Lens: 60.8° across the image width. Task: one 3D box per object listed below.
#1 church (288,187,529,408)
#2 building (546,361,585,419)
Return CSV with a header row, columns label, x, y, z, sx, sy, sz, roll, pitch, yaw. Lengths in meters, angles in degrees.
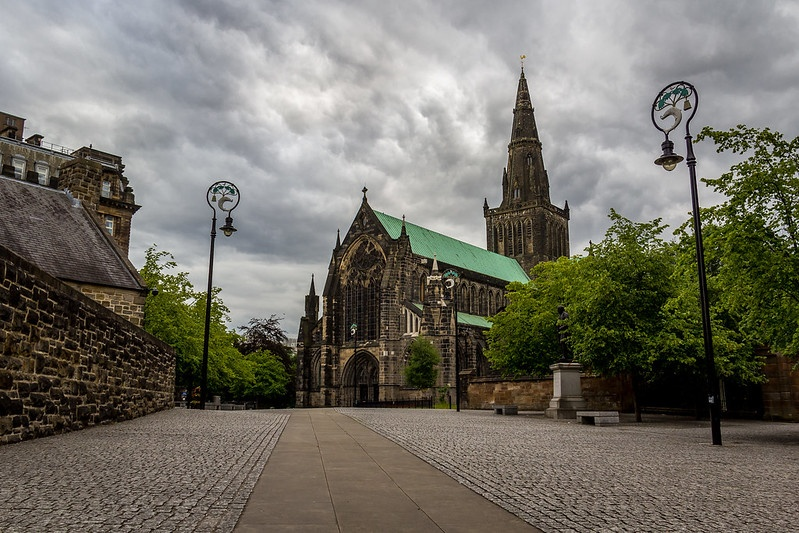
label,x,y,z,sx,sy,sz,roll,pitch,yaw
church,6.934,4.725,80.041,22.095,21.578,34.788,-9,-11,39
building,7.560,5.087,28.290,1.857,2.192,1.682,-1,-9,-35
